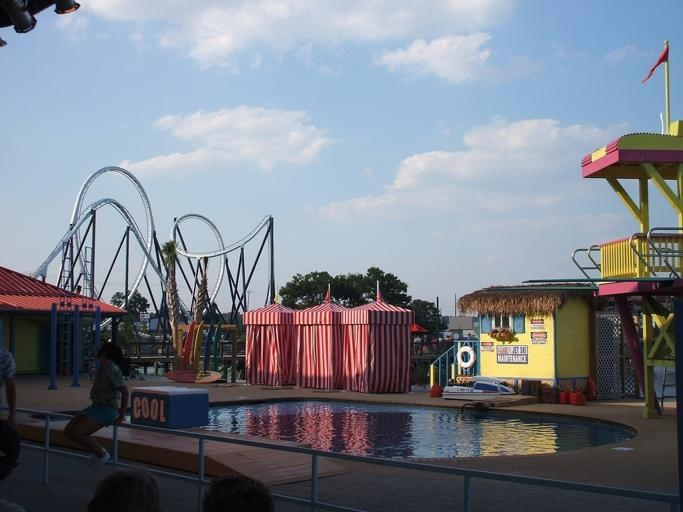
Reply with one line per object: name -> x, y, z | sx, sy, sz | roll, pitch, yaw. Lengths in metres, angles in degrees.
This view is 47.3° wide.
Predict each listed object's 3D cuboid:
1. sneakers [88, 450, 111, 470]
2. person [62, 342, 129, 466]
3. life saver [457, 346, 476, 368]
sneakers -> -3.038, 2.555, 9.787 | 0.331, 0.143, 0.174 | -35, -55, 7
person -> -3.010, 1.845, 9.815 | 0.871, 1.479, 0.481 | -5, -11, 23
life saver -> 3.702, 2.990, 23.212 | 0.537, 0.672, 0.429 | -5, -11, 20
